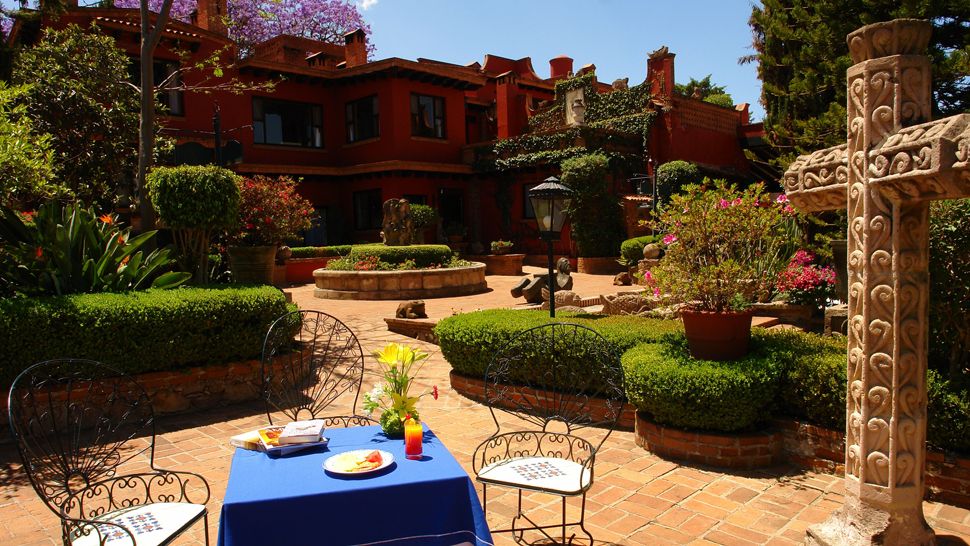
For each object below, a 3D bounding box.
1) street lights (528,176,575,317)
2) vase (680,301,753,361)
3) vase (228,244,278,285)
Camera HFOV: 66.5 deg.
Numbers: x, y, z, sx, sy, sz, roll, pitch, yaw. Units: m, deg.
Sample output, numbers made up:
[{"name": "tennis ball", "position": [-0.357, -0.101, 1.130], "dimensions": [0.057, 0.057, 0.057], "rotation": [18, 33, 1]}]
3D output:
[{"name": "street lights", "position": [0.997, -0.359, 10.994], "dimensions": [0.549, 2.092, 0.740], "rotation": [1, 4, 37]}, {"name": "vase", "position": [2.976, 0.724, 9.513], "dimensions": [0.736, 0.455, 0.742], "rotation": [-2, -1, 38]}, {"name": "vase", "position": [-5.145, -0.194, 16.373], "dimensions": [1.152, 0.917, 1.234], "rotation": [0, -2, -32]}]
